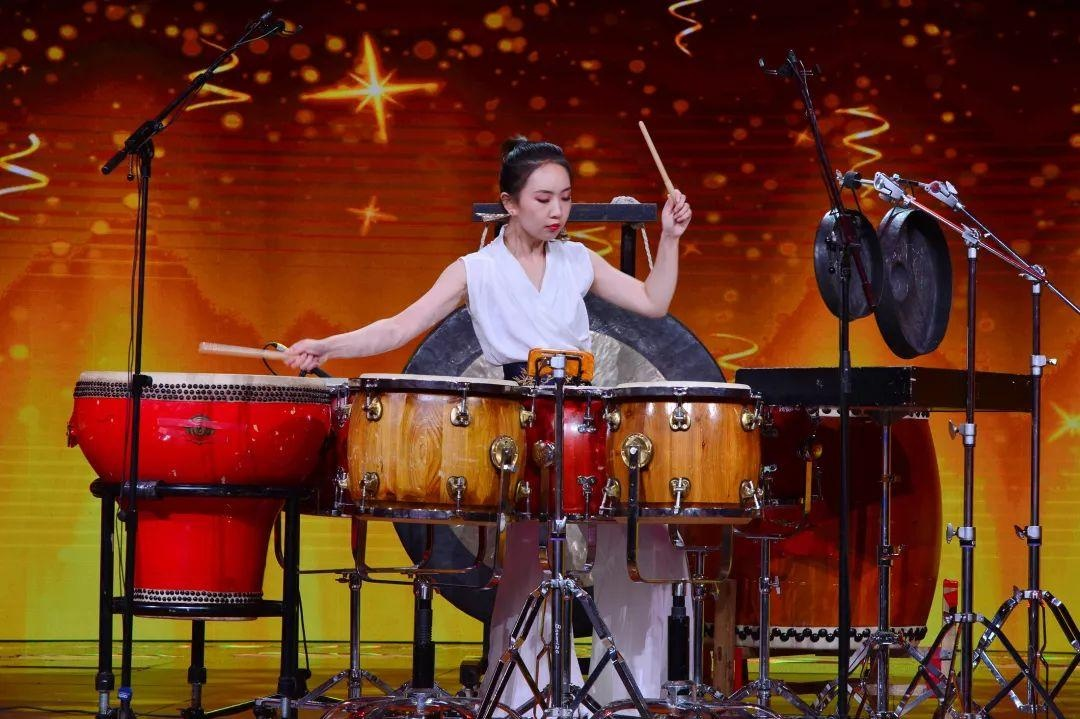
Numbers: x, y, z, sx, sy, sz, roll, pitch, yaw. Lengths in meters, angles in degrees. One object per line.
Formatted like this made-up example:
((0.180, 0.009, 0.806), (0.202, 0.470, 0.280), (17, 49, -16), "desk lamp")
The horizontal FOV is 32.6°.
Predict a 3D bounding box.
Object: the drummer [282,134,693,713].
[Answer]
((-0.176, 0.414, 8.709), (2.238, 2.688, 1.305), (1, -3, -4), "drummer")

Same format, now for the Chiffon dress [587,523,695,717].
((0.503, 1.125, 8.040), (0.462, 0.750, 0.417), (0, 5, 17), "Chiffon dress")
